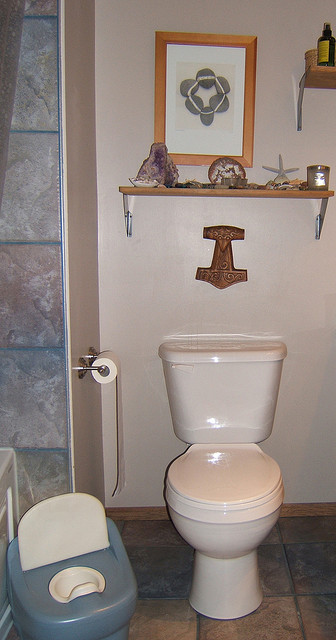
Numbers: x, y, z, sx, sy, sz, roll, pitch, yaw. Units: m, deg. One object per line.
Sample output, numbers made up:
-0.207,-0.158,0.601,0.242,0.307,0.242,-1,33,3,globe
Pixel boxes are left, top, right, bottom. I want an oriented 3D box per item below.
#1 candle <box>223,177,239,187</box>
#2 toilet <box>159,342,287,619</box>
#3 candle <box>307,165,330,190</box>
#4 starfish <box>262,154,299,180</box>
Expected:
0.222,-0.479,1.778,0.031,0.021,0.031,-9,13,-44,candle
0.197,0.498,1.703,0.407,0.756,0.672,-1,10,2,toilet
0.522,-0.494,1.782,0.075,0.092,0.080,11,22,32,candle
0.410,-0.542,1.854,0.089,0.083,0.094,2,-30,-18,starfish
